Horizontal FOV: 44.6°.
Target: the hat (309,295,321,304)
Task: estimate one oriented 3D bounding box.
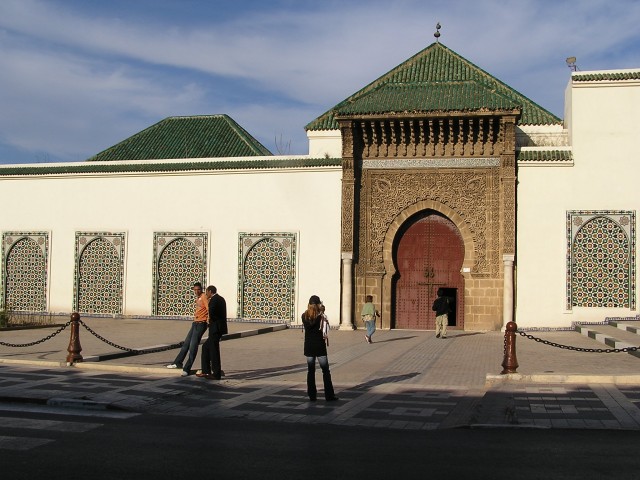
[{"bbox_3d":[-0.077,0.946,12.285,0.119,0.136,0.159,-2,-39,5],"label":"hat"}]

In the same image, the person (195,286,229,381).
[{"bbox_3d":[-1.818,1.571,13.470,0.427,1.548,0.625,1,-2,-8],"label":"person"}]

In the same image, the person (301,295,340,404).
[{"bbox_3d":[0.001,1.644,12.068,0.522,1.545,0.661,1,-2,-5],"label":"person"}]

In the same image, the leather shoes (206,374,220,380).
[{"bbox_3d":[-1.783,2.302,13.201,0.250,0.074,0.109,1,-2,-1],"label":"leather shoes"}]

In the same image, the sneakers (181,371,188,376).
[{"bbox_3d":[-2.281,2.272,13.365,0.116,0.071,0.085,1,-2,-12],"label":"sneakers"}]

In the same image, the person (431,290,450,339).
[{"bbox_3d":[3.064,1.864,19.908,0.370,1.187,1.109,1,-2,8],"label":"person"}]
